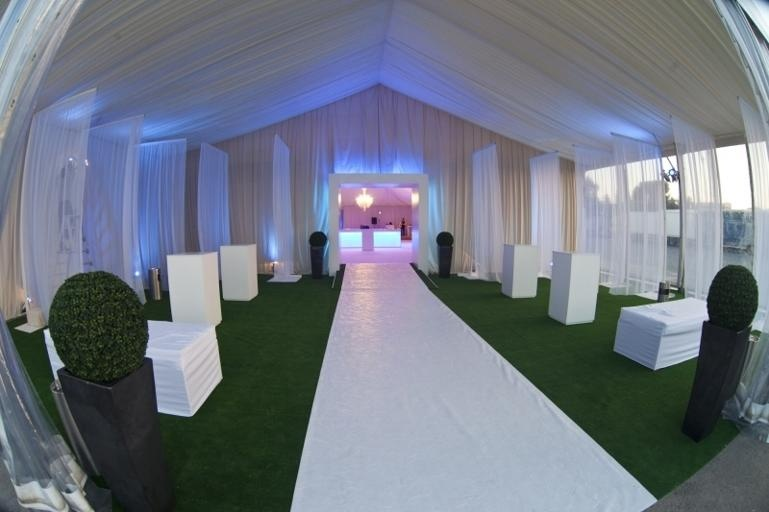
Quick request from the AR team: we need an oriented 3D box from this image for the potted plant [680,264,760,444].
[{"bbox_3d":[3.037,0.883,3.769,0.502,1.606,0.245,-3,12,-13],"label":"potted plant"}]
